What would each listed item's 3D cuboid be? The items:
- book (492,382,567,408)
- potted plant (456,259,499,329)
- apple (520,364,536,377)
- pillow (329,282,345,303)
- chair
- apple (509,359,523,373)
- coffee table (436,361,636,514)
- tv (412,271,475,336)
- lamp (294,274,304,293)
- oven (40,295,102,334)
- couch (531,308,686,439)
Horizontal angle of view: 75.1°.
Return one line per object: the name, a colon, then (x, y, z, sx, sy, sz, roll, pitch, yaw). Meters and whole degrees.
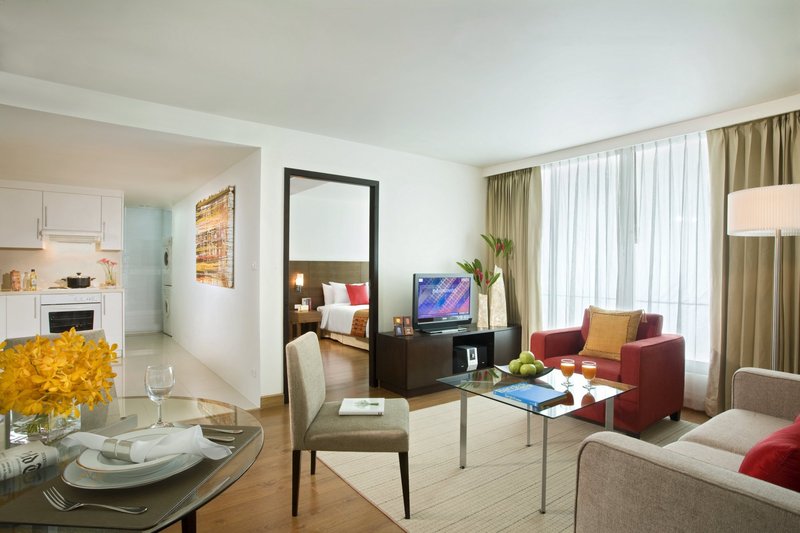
book: (0.996, 0.981, 4.053, 0.456, 0.044, 0.441, -10, 14, -40)
potted plant: (1.158, 0.341, 7.166, 0.738, 1.003, 1.007, -1, 0, 5)
apple: (1.074, 0.882, 4.437, 0.105, 0.097, 0.104, 12, -15, -27)
pillow: (-1.143, 0.488, 9.460, 0.332, 0.263, 0.170, -2, 7, -36)
chair: (-0.567, 1.129, 4.123, 1.225, 1.582, 1.120, -1, -2, 2)
apple: (0.999, 0.865, 4.542, 0.082, 0.107, 0.080, 18, -18, 17)
coffee table: (1.048, 1.135, 4.280, 1.179, 0.722, 1.134, 4, 6, 44)
tv: (0.500, 0.464, 6.395, 0.821, 0.584, 0.242, 0, 2, -36)
lamp: (-1.783, 0.278, 9.240, 0.206, 0.346, 0.081, -6, 12, -23)
oven: (-4.145, 0.559, 6.521, 0.637, 0.557, 0.422, 0, 16, -38)
couch: (2.149, 0.953, 5.404, 1.169, 1.237, 1.341, 4, -5, -34)
